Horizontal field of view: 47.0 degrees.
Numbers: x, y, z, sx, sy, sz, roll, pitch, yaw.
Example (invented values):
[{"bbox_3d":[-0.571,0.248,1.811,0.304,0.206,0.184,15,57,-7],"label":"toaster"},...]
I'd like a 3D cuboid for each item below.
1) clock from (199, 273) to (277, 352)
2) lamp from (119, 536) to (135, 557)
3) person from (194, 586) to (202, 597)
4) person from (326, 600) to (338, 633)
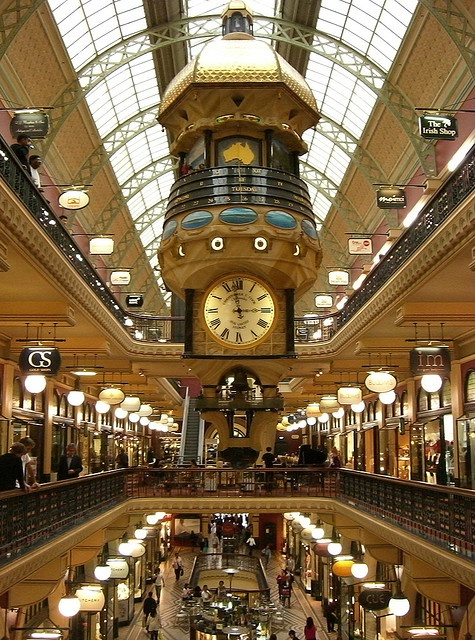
[{"bbox_3d":[0.008,-0.085,9.037,1.449,1.248,0.150,3,-14,0],"label":"clock"},{"bbox_3d":[-3.217,6.596,15.767,0.380,0.475,1.227,1,-12,-11],"label":"lamp"},{"bbox_3d":[-1.820,12.486,25.144,0.345,0.545,0.813,0,-13,-6],"label":"person"},{"bbox_3d":[3.772,11.901,22.097,0.362,1.144,0.950,-2,-13,4],"label":"person"}]
